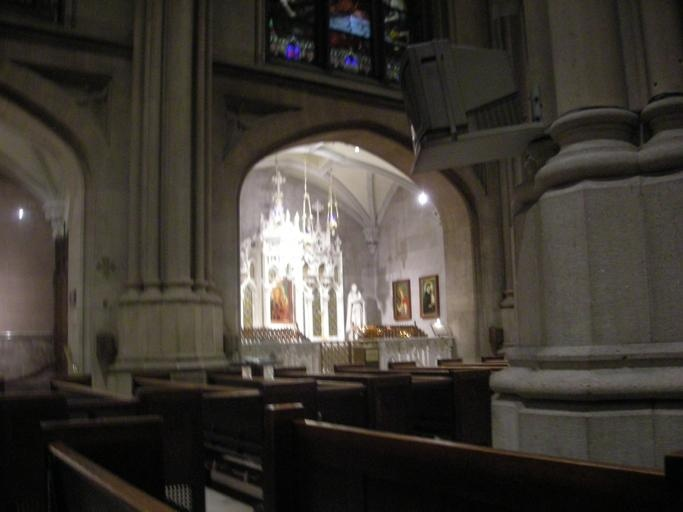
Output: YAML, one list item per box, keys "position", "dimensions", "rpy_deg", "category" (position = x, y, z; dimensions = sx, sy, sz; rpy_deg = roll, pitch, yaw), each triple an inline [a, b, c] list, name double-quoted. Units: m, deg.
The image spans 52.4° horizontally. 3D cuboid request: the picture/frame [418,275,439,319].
- position: [2.096, 1.010, 16.592]
  dimensions: [0.106, 1.231, 0.869]
  rpy_deg: [4, -8, -19]
  category: "picture/frame"
